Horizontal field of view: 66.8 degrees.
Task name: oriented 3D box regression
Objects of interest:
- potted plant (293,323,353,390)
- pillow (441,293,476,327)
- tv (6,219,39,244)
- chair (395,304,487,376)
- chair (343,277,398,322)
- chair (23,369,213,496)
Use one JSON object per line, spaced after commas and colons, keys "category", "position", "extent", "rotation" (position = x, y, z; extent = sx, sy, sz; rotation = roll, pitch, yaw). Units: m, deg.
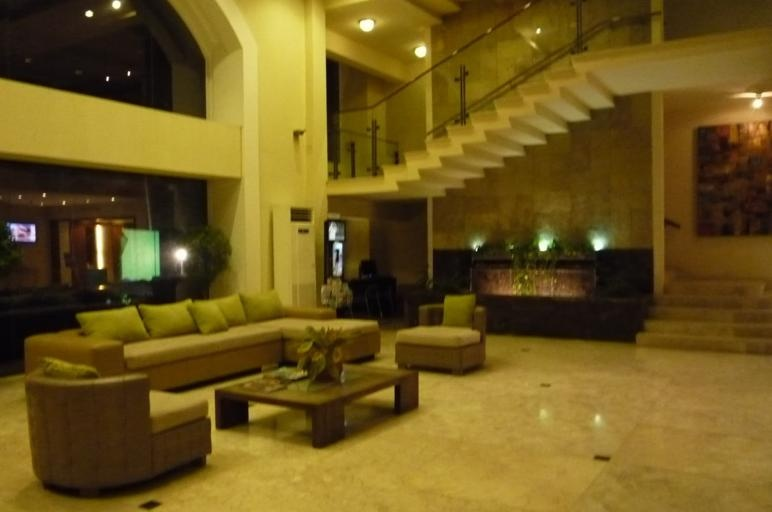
{"category": "potted plant", "position": [-0.758, 1.220, 7.160], "extent": [0.608, 0.651, 0.643], "rotation": [0, -3, 7]}
{"category": "pillow", "position": [1.174, 0.888, 9.328], "extent": [0.439, 0.448, 0.162], "rotation": [2, -10, 34]}
{"category": "tv", "position": [-5.677, -0.380, 9.137], "extent": [0.051, 0.278, 0.382], "rotation": [-4, -1, 31]}
{"category": "chair", "position": [0.893, 1.288, 9.222], "extent": [1.451, 0.950, 1.509], "rotation": [-2, 1, -11]}
{"category": "chair", "position": [-0.248, 0.983, 14.245], "extent": [1.490, 1.476, 0.793], "rotation": [0, 2, 28]}
{"category": "chair", "position": [-2.546, 1.644, 5.769], "extent": [1.215, 0.949, 1.247], "rotation": [1, 1, 35]}
